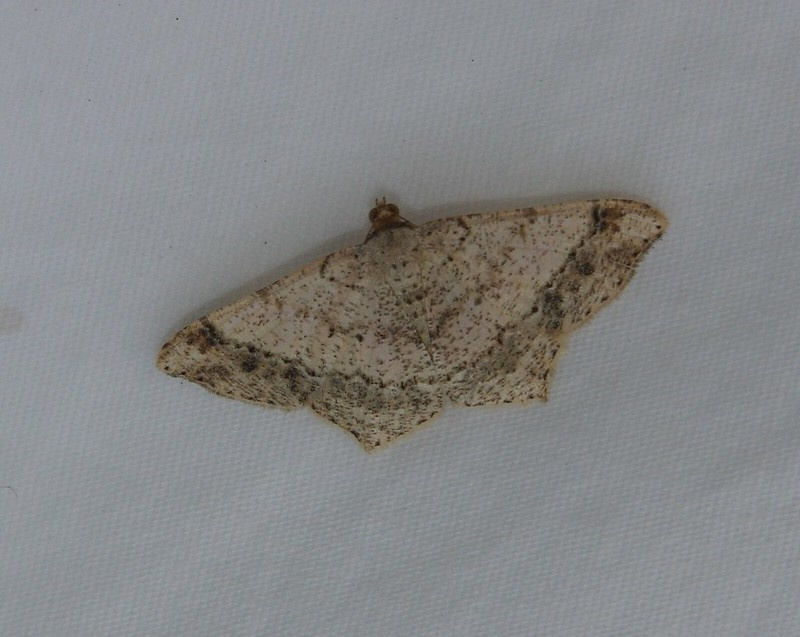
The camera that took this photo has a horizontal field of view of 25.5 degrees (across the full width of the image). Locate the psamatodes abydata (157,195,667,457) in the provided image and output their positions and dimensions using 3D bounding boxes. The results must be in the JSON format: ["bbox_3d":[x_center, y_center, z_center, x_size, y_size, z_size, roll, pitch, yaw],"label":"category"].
[{"bbox_3d":[0.074,-0.016,6.095,2.013,0.198,0.709,-10,109,2],"label":"psamatodes abydata"}]
